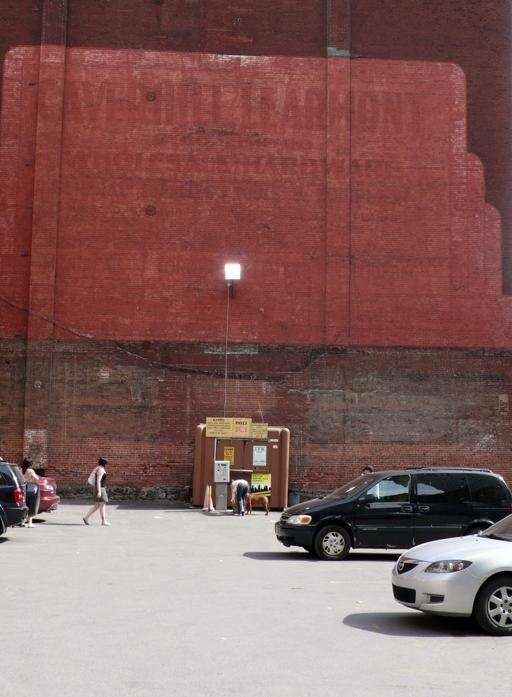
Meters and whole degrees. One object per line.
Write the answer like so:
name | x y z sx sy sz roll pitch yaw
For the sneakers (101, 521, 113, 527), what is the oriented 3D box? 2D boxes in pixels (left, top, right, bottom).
sneakers | -3.007 3.551 24.916 0.229 0.088 0.175 -11 3 -44

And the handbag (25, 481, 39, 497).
handbag | -4.115 2.583 22.655 0.243 0.236 0.182 2 -5 -12
